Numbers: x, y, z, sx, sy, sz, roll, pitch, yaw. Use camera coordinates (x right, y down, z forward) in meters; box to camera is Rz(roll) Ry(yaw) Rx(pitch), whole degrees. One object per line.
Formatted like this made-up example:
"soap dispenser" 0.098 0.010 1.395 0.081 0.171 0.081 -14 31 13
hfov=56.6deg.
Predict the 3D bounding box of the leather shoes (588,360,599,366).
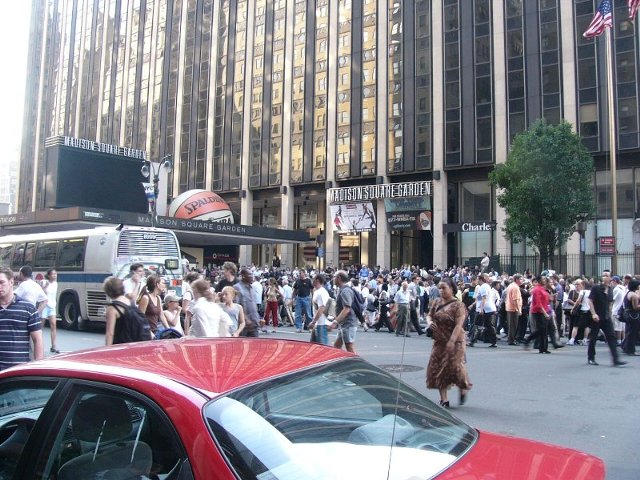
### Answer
"leather shoes" 5.834 2.626 12.660 0.196 0.090 0.080 -4 -4 38

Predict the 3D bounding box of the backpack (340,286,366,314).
"backpack" 0.571 1.127 10.994 0.489 0.353 0.400 11 -6 0

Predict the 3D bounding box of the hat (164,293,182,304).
"hat" -2.487 0.986 10.012 0.222 0.135 0.444 13 -6 -19

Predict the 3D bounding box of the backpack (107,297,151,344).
"backpack" -2.512 1.062 7.767 0.336 0.652 0.506 -11 -13 20
